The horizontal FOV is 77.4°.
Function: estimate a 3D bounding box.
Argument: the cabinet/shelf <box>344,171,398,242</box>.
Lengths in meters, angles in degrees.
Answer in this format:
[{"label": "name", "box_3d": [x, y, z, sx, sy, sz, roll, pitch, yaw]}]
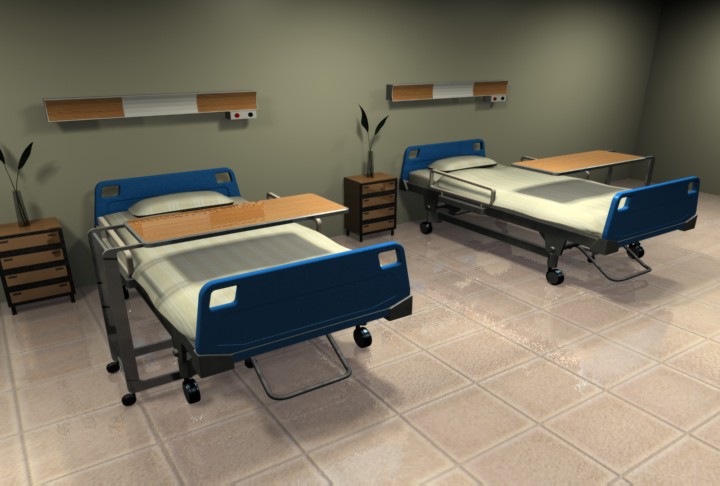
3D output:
[{"label": "cabinet/shelf", "box_3d": [0.125, -0.511, 6.176, 0.884, 1.012, 0.584, -13, 24, -30]}]

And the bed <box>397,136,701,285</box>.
[{"label": "bed", "box_3d": [1.968, -0.367, 6.312, 2.130, 1.359, 3.750, -14, 24, -32]}]

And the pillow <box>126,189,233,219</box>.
[{"label": "pillow", "box_3d": [-1.877, -0.429, 4.738, 0.820, 0.120, 0.418, -11, 21, -31]}]

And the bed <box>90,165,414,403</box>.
[{"label": "bed", "box_3d": [-1.203, 0.263, 4.402, 2.482, 1.238, 3.090, -14, 25, -27]}]

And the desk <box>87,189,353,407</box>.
[{"label": "desk", "box_3d": [-1.144, 0.324, 4.209, 2.238, 1.232, 0.820, -14, 22, -23]}]
